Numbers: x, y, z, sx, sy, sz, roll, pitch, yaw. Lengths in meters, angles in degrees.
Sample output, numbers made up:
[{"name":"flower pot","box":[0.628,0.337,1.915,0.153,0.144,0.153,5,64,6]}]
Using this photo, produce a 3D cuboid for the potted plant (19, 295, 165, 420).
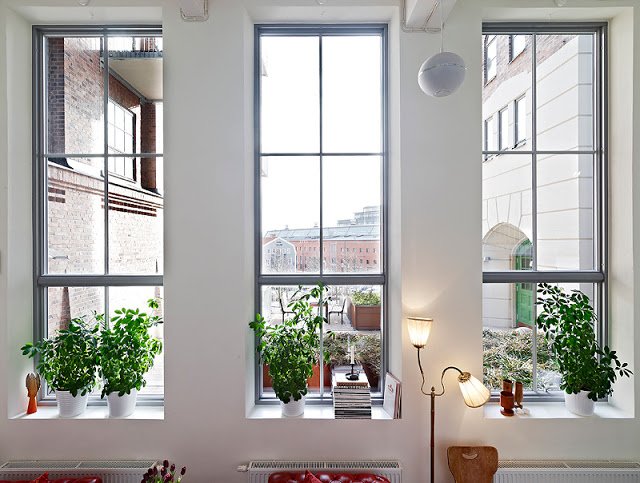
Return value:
[{"name":"potted plant","box":[-1.855,0.980,5.083,1.024,1.005,0.394,0,-7,1]}]

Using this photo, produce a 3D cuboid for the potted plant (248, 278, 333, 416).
[{"name":"potted plant","box":[-0.269,0.917,5.143,0.646,1.140,0.358,0,-7,0]}]

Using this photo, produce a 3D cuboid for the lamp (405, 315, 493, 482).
[{"name":"lamp","box":[1.044,1.311,4.931,0.646,1.385,0.355,-1,-7,8]}]

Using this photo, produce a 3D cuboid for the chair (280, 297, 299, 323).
[{"name":"chair","box":[-0.253,0.596,5.177,0.182,0.281,0.162,0,-1,3]}]

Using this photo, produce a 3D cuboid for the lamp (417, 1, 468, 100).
[{"name":"lamp","box":[0.904,-1.292,4.452,0.333,0.370,0.143,-2,-7,13]}]

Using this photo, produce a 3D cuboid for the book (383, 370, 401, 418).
[{"name":"book","box":[0.611,1.316,5.073,0.060,0.275,0.258,5,-4,-18]}]

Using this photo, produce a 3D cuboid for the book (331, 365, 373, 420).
[{"name":"book","box":[0.271,1.292,5.090,0.276,0.221,0.422,-1,1,0]}]

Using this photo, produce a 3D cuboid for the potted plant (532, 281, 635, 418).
[{"name":"potted plant","box":[2.220,0.912,5.123,0.728,1.128,0.367,-1,-7,11]}]

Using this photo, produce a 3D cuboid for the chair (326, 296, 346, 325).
[{"name":"chair","box":[0.150,0.597,5.143,0.192,0.307,0.184,2,-1,0]}]
